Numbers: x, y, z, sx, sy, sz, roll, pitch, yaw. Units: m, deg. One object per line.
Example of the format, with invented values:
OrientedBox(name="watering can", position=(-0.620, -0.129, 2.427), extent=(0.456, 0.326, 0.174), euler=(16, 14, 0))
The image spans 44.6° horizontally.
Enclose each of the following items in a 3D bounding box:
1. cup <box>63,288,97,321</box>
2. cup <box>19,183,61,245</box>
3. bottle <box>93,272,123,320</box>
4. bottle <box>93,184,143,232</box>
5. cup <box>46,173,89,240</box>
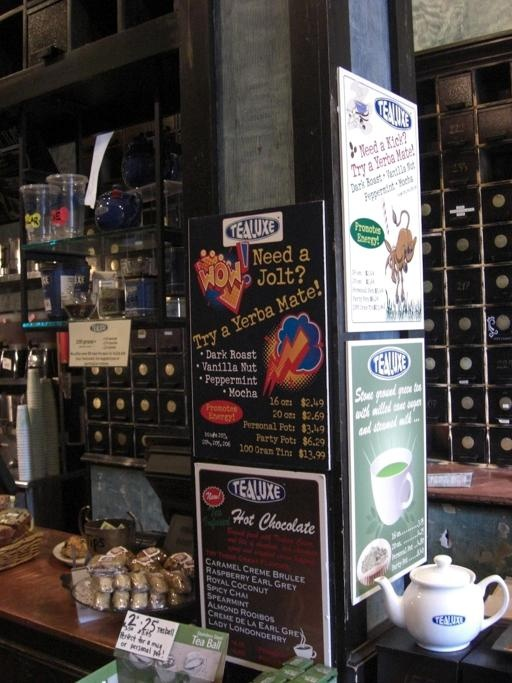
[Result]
OrientedBox(name="cup", position=(-0.514, -0.114, 1.833), extent=(0.081, 0.075, 0.097), euler=(1, 3, -19))
OrientedBox(name="cup", position=(-0.700, -0.411, 2.026), extent=(0.125, 0.176, 0.130), euler=(-1, 6, 0))
OrientedBox(name="bottle", position=(-0.438, -0.137, 1.815), extent=(0.089, 0.144, 0.098), euler=(-1, 5, 41))
OrientedBox(name="bottle", position=(-0.404, -0.379, 1.834), extent=(0.159, 0.157, 0.116), euler=(1, 2, -34))
OrientedBox(name="cup", position=(-0.603, -0.413, 1.985), extent=(0.135, 0.190, 0.136), euler=(2, 5, 0))
